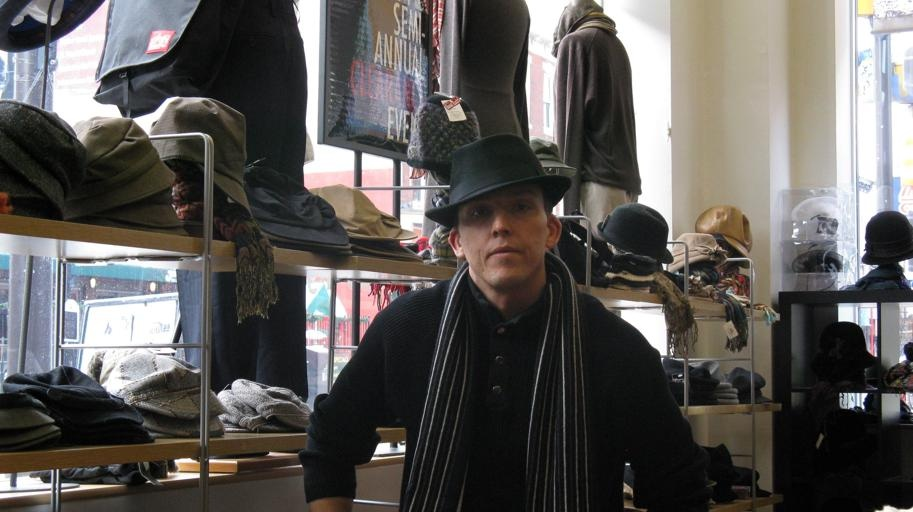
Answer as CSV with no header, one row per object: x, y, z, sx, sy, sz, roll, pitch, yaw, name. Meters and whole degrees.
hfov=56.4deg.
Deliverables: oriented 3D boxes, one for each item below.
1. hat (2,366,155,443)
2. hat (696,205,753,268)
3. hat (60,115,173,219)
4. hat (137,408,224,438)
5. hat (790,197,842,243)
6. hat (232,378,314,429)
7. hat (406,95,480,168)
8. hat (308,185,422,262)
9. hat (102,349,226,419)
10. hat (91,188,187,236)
-1.672,0.698,3.807,0.427,0.144,0.416,8,-1,-36,hat
2.301,-0.163,7.031,0.536,0.397,0.402,23,-15,-41,hat
-1.546,-0.392,3.886,0.512,0.268,0.385,2,15,18,hat
-1.316,0.818,4.088,0.248,0.078,0.188,1,-7,2,hat
2.957,-0.290,7.094,0.410,0.329,0.293,-13,-7,35,hat
-0.952,0.771,4.396,0.364,0.141,0.287,2,-9,-5,hat
-0.084,-0.646,4.683,0.409,0.387,0.425,3,3,28,hat
-0.496,-0.102,4.618,0.480,0.165,0.432,20,13,-11,hat
-1.498,0.559,4.169,0.485,0.151,0.344,15,2,25,hat
-1.439,-0.190,3.901,0.309,0.136,0.224,1,-1,8,hat
